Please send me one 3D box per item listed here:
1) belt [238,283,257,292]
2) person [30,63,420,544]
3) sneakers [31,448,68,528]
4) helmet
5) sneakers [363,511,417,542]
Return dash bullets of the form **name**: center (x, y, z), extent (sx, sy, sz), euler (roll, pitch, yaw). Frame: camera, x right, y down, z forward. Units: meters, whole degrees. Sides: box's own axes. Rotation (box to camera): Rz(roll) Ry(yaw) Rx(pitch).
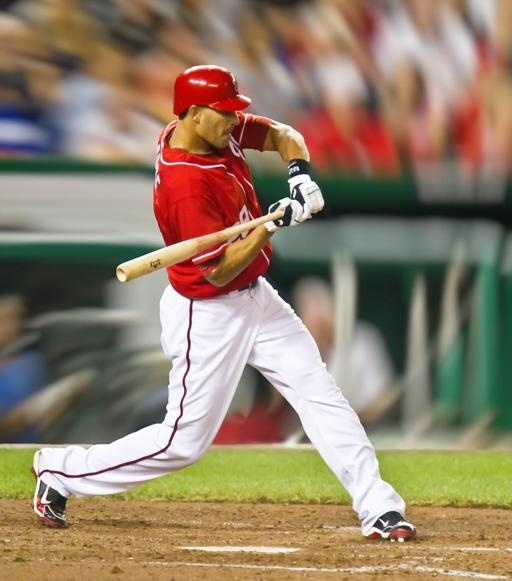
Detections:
- **belt**: center (-0.026, -0.011, 3.154), extent (0.041, 0.012, 0.039), euler (-12, -7, -46)
- **person**: center (-0.097, 0.038, 3.214), extent (1.416, 1.691, 0.543), euler (1, 8, 9)
- **sneakers**: center (-0.799, 0.753, 3.320), extent (0.177, 0.284, 0.107), euler (-5, -16, 2)
- **helmet**: center (-0.135, -0.699, 3.035), extent (0.280, 0.109, 0.175), euler (1, 17, 13)
- **sneakers**: center (0.459, 0.828, 3.023), extent (0.096, 0.067, 0.189), euler (8, -13, -43)
